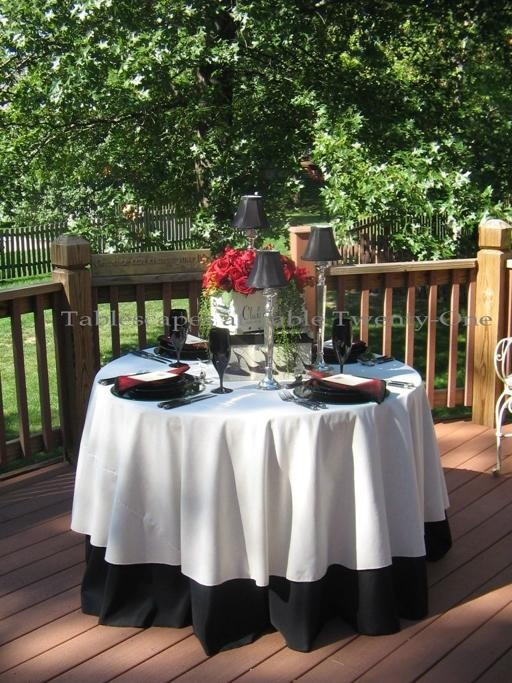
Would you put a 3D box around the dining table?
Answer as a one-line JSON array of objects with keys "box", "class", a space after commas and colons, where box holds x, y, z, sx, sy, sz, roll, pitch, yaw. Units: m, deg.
[{"box": [0.067, 0.501, 2.474, 1.365, 0.705, 1.389, -4, 5, -10], "class": "dining table"}]

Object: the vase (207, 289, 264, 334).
[{"box": [-0.067, -0.105, 2.323, 0.168, 0.148, 0.164, -4, 6, -32], "class": "vase"}]

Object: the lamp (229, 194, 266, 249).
[{"box": [-0.027, -0.573, 3.094, 0.178, 0.266, 0.172, 8, 18, 22], "class": "lamp"}]

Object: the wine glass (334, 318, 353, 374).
[{"box": [0.313, 0.018, 2.281, 0.087, 0.259, 0.085, 0, 37, 7], "class": "wine glass"}]

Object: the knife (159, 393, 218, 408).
[{"box": [-0.201, 0.179, 1.997, 0.224, 0.022, 0.050, -10, 12, -40], "class": "knife"}]

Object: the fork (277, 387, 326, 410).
[{"box": [0.141, 0.172, 1.973, 0.047, 0.029, 0.199, -1, 14, -38], "class": "fork"}]

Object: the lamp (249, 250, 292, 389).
[{"box": [0.042, -0.066, 2.102, 0.142, 0.433, 0.138, -1, 0, -20], "class": "lamp"}]

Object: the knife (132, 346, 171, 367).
[{"box": [-0.433, 0.060, 2.634, 0.072, 0.010, 0.246, -21, 21, -30], "class": "knife"}]

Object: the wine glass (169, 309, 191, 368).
[{"box": [-0.285, -0.002, 2.343, 0.065, 0.179, 0.064, 1, -2, -2], "class": "wine glass"}]
